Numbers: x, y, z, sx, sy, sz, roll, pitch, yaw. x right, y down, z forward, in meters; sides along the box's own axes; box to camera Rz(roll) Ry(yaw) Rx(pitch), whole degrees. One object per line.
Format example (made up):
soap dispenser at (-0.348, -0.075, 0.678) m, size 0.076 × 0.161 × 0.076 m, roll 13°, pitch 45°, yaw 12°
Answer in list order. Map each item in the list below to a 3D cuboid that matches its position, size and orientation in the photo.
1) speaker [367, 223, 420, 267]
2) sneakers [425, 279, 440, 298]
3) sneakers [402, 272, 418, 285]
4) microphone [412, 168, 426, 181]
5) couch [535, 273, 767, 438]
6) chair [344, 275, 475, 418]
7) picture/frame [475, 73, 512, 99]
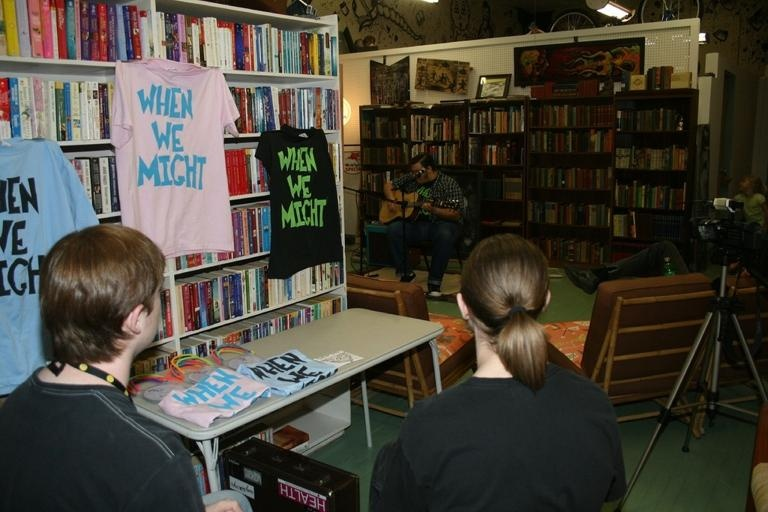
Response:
speaker at (0.138, -0.164, 7.655) m, size 0.509 × 0.516 × 0.284 m, roll 7°, pitch 17°, yaw 30°
sneakers at (0.611, 0.398, 6.853) m, size 0.092 × 0.198 × 0.278 m, roll 4°, pitch 11°, yaw 17°
sneakers at (0.362, 0.298, 7.375) m, size 0.121 × 0.138 × 0.343 m, roll 4°, pitch 18°, yaw 29°
microphone at (0.458, -1.060, 7.331) m, size 0.096 × 0.133 × 0.124 m, roll 12°, pitch 7°, yaw 34°
couch at (1.917, 0.521, 4.166) m, size 1.454 × 1.248 × 1.385 m, roll -3°, pitch 9°, yaw -14°
chair at (0.406, 0.540, 4.230) m, size 0.789 × 1.024 × 1.138 m, roll 7°, pitch 13°, yaw 37°
picture/frame at (1.662, -2.541, 8.416) m, size 0.455 × 0.405 × 0.033 m, roll 6°, pitch -10°, yaw 33°
